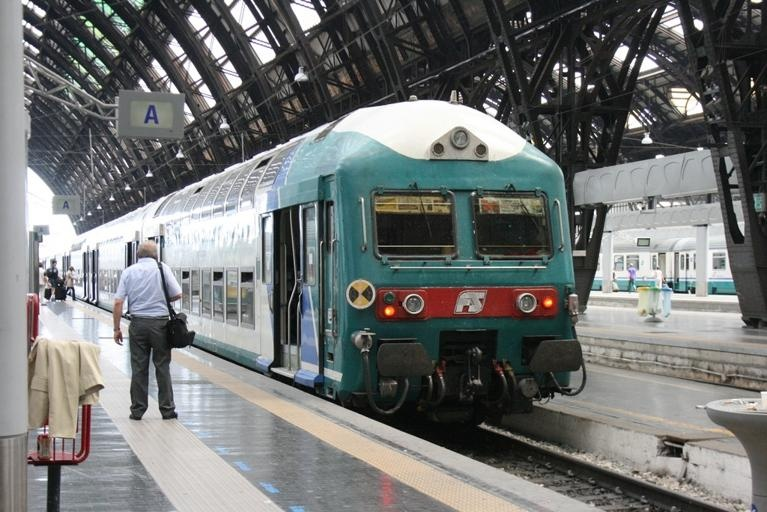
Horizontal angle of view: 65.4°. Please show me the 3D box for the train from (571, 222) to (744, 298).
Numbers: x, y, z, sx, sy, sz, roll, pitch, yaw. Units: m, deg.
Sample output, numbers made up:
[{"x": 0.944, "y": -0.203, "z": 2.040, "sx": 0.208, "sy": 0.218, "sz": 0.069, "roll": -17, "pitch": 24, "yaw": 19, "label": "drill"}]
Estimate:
[{"x": 20.639, "y": 0.356, "z": 43.667, "sx": 4.105, "sy": 4.761, "sz": 9.975, "roll": 3, "pitch": -2, "yaw": -11, "label": "train"}]

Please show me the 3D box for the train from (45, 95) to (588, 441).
[{"x": -3.275, "y": 0.420, "z": 16.513, "sx": 4.009, "sy": 4.959, "sz": 19.846, "roll": 0, "pitch": -2, "yaw": -26, "label": "train"}]

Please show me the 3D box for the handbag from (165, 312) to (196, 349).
[{"x": -2.567, "y": 0.897, "z": 7.658, "sx": 0.371, "sy": 0.538, "sz": 0.393, "roll": -3, "pitch": 6, "yaw": -18, "label": "handbag"}]

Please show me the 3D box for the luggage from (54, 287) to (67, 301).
[{"x": -18.269, "y": 2.123, "z": 33.791, "sx": 0.423, "sy": 0.681, "sz": 0.825, "roll": 0, "pitch": -3, "yaw": 10, "label": "luggage"}]

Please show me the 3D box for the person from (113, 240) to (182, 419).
[{"x": -2.978, "y": 0.928, "z": 7.539, "sx": 0.746, "sy": 2.248, "sz": 0.679, "roll": 4, "pitch": -3, "yaw": -43, "label": "person"}]
